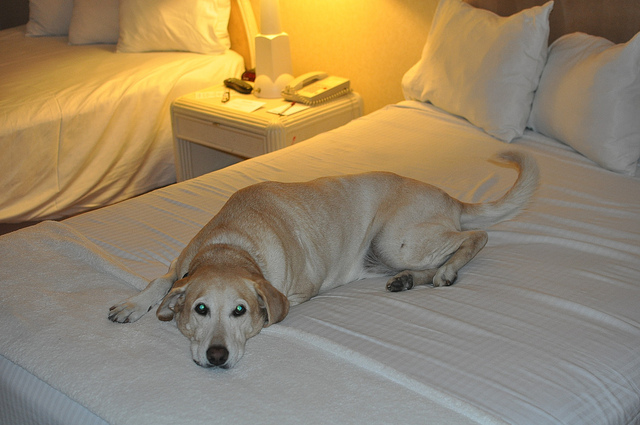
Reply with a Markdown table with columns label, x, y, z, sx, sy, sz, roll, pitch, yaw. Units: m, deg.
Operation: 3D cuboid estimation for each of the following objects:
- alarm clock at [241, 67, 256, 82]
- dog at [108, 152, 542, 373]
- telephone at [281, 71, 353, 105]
| label | x | y | z | sx | sy | sz | roll | pitch | yaw |
| --- | --- | --- | --- | --- | --- | --- | --- | --- | --- |
| alarm clock | -0.535 | -1.028 | 3.662 | 0.099 | 0.047 | 0.133 | 3 | 25 | 44 |
| dog | 0.076 | 0.094 | 1.728 | 1.358 | 0.396 | 0.547 | -21 | 16 | -23 |
| telephone | -0.025 | -0.854 | 3.302 | 0.430 | 0.147 | 0.307 | -27 | 45 | -35 |
